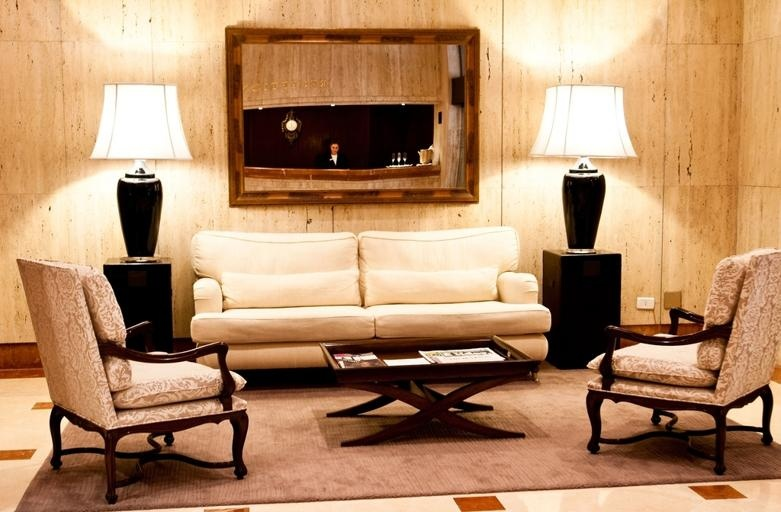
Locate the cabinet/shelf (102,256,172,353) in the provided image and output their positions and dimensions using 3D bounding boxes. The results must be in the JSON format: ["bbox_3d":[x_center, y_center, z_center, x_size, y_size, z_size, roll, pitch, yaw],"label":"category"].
[{"bbox_3d":[-2.185,0.561,5.686,0.540,0.537,0.876,-2,43,-19],"label":"cabinet/shelf"}]

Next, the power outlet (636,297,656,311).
[{"bbox_3d":[2.543,0.482,6.582,0.230,0.179,0.121,0,5,0],"label":"power outlet"}]

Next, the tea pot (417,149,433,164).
[{"bbox_3d":[0.341,-0.951,6.310,0.155,0.128,0.125,1,-2,-25],"label":"tea pot"}]

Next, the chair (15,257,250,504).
[{"bbox_3d":[-1.662,0.666,4.568,1.512,1.770,1.295,0,0,-36],"label":"chair"}]

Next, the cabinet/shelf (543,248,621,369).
[{"bbox_3d":[1.866,0.438,6.130,0.698,0.906,0.678,-5,7,-20],"label":"cabinet/shelf"}]

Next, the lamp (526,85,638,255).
[{"bbox_3d":[1.732,-0.800,6.025,0.909,1.512,0.371,2,12,11],"label":"lamp"}]
